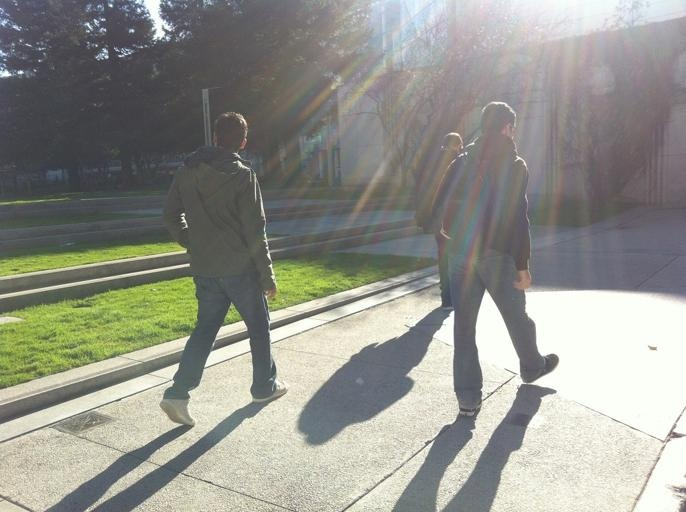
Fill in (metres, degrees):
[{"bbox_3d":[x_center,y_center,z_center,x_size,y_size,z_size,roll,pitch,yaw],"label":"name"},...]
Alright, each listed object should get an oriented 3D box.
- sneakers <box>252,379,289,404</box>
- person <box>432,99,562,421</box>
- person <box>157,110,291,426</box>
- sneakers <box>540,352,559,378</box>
[{"bbox_3d":[-0.612,1.156,4.068,0.131,0.163,0.361,15,21,27],"label":"sneakers"},{"bbox_3d":[1.127,0.032,3.741,0.824,2.383,0.527,1,9,12],"label":"person"},{"bbox_3d":[-0.962,0.127,3.688,0.867,2.360,0.403,-2,9,-6],"label":"person"},{"bbox_3d":[1.810,0.962,4.166,0.102,0.127,0.287,20,47,40],"label":"sneakers"}]
